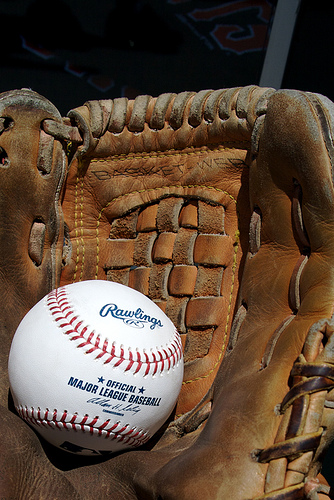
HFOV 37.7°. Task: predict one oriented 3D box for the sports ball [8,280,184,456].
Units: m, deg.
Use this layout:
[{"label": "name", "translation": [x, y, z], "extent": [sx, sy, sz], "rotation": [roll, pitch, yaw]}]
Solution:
[{"label": "sports ball", "translation": [-0.168, 0.308, 1.448], "extent": [0.470, 0.444, 0.445], "rotation": [15, -12, 3]}]
